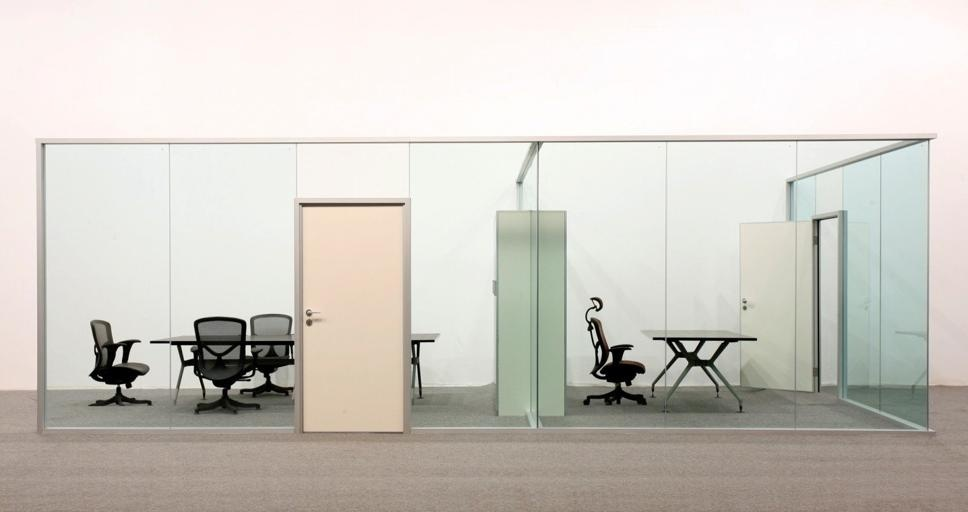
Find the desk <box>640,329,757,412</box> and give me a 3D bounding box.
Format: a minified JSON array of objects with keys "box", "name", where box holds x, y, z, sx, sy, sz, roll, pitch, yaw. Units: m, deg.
[{"box":[3.306,1.811,13.268,1.695,0.949,1.704,-1,-3,15],"name":"desk"}]
